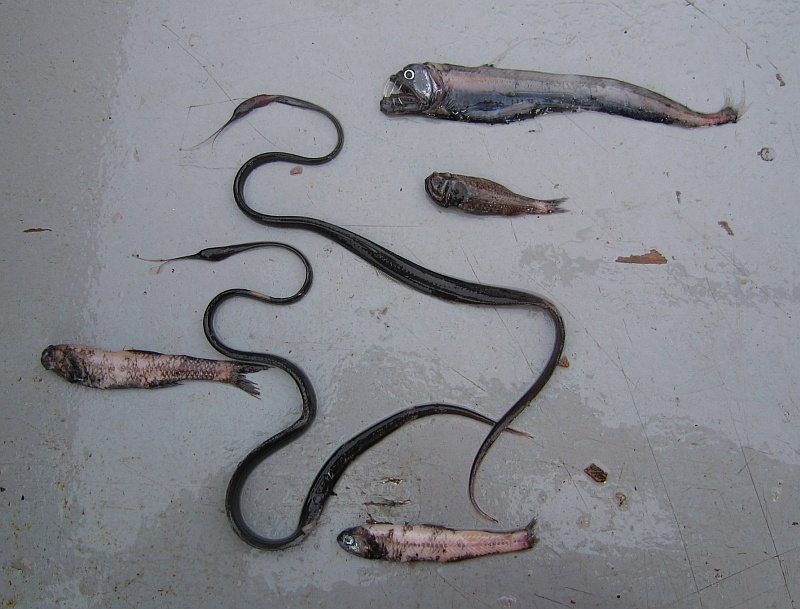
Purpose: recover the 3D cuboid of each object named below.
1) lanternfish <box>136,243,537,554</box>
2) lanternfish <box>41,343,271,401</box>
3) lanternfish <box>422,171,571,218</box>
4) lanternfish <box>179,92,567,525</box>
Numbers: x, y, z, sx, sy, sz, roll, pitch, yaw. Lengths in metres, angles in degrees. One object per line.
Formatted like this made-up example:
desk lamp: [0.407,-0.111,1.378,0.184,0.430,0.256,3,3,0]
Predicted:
lanternfish: [-0.513,0.368,6.007,1.713,0.819,1.783,-20,64,-14]
lanternfish: [-1.610,0.435,5.868,1.388,0.144,0.204,6,60,-1]
lanternfish: [0.604,-0.684,5.919,0.909,0.149,0.175,8,59,0]
lanternfish: [-0.040,-0.294,5.982,2.920,0.114,1.666,40,93,4]
